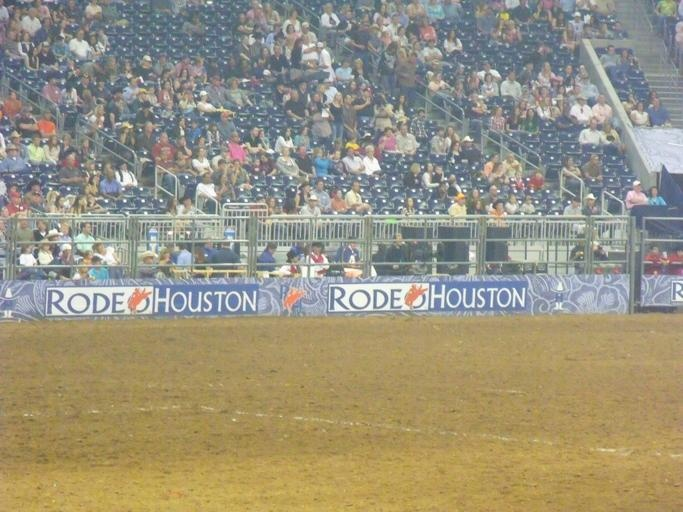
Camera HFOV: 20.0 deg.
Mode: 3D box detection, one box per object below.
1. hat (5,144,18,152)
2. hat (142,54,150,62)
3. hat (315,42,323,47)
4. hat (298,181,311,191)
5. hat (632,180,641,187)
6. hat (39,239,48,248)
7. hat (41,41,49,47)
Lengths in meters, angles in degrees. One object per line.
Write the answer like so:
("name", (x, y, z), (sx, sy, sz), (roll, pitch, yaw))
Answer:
("hat", (-8.942, -2.809, 51.782), (0.324, 0.201, 0.205), (-1, 2, 18))
("hat", (-5.639, -5.547, 55.432), (0.310, 0.122, 0.238), (8, 9, -16))
("hat", (-0.739, -6.279, 58.493), (0.148, 0.163, 0.287), (2, -2, 3))
("hat", (-0.991, -1.794, 52.484), (0.208, 0.268, 0.288), (-1, 4, -30))
("hat", (8.712, -2.019, 56.865), (0.245, 0.143, 0.350), (-13, -6, -4))
("hat", (-7.404, -0.226, 47.486), (0.247, 0.180, 0.211), (-1, 2, -8))
("hat", (-8.493, -5.881, 54.684), (0.192, 0.197, 0.151), (-6, 5, -5))
